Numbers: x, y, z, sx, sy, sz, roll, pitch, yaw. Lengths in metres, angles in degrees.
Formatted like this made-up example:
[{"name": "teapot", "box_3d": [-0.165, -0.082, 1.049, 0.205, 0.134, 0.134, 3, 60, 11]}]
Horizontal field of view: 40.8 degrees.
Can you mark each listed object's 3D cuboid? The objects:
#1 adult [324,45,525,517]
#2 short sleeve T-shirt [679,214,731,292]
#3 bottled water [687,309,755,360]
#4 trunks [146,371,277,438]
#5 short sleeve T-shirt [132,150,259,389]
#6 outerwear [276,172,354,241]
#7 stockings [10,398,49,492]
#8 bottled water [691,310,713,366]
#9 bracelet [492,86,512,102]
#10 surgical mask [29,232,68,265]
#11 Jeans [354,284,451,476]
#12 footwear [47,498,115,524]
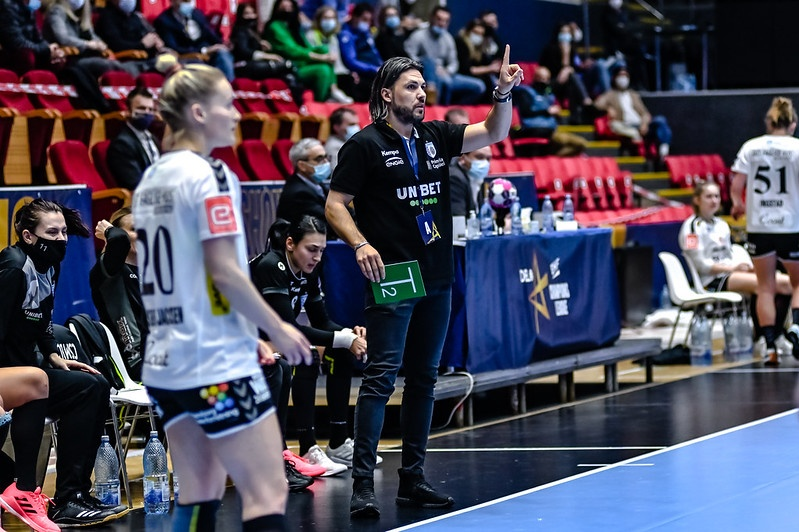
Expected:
[{"name": "adult", "box_3d": [0.159, 0.058, 6.876, 1.217, 2.951, 0.732, 0, -1, -26]}, {"name": "short sleeve T-shirt", "box_3d": [3.311, -0.130, 11.705, 0.764, 0.844, 0.484, -4, -6, -39]}, {"name": "bottled water", "box_3d": [3.430, 0.741, 11.539, 0.517, 0.468, 0.164, -1, -4, -29]}, {"name": "trunks", "box_3d": [-0.915, 0.676, 5.257, 0.555, 0.398, 0.318, -11, 16, 37]}, {"name": "short sleeve T-shirt", "box_3d": [-1.016, 0.013, 5.252, 0.593, 1.156, 0.301, -3, 6, -2]}, {"name": "outerwear", "box_3d": [-0.784, -0.509, 9.062, 0.644, 0.702, 0.565, -4, 3, 5]}, {"name": "stockings", "box_3d": [-2.316, 1.124, 6.752, 0.229, 0.562, 0.157, -5, 6, -21]}, {"name": "bottled water", "box_3d": [3.156, 0.772, 11.314, 0.212, 0.503, 0.417, -1, 6, 14]}, {"name": "bracelet", "box_3d": [0.643, -1.091, 6.811, 0.115, 0.082, 0.125, -1, 4, 2]}, {"name": "surgical mask", "box_3d": [-2.232, -0.109, 6.807, 0.182, 0.118, 0.171, 6, 2, 30]}, {"name": "Jeans", "box_3d": [0.017, 0.672, 6.873, 0.515, 1.509, 0.365, 7, -5, -30]}, {"name": "footwear", "box_3d": [-2.033, 1.587, 6.890, 0.415, 0.186, 0.153, -1, -4, 2]}]
